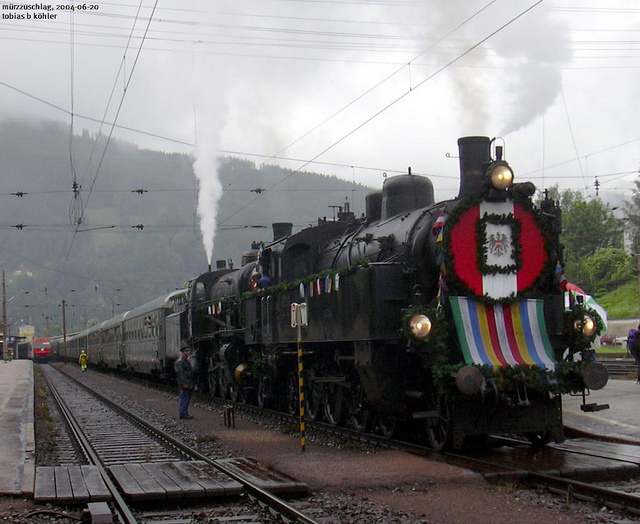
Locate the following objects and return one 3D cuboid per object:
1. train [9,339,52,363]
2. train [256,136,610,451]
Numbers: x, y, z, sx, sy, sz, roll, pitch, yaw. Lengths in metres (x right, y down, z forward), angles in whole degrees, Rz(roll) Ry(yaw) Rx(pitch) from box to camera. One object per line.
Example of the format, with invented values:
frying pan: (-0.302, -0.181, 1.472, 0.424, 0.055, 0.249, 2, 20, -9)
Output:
train: (-37.463, 11.595, 90.406, 4.731, 2.990, 5.059, 3, -11, -23)
train: (1.063, 0.902, 16.285, 3.420, 5.247, 11.923, 3, -7, -21)
